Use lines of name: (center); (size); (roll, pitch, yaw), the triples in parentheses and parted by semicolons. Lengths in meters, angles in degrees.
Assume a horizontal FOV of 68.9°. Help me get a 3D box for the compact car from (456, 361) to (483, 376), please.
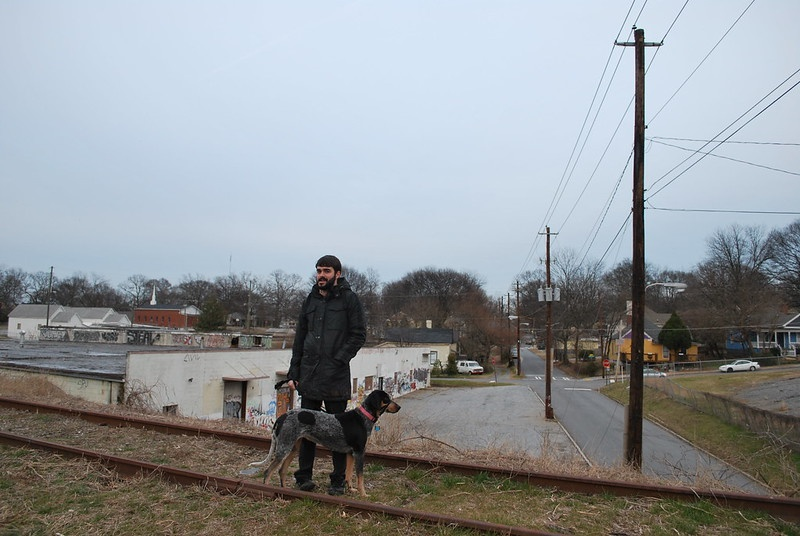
compact car: (7.225, 10.345, 60.759); (1.310, 1.124, 2.196); (6, -13, -44)
